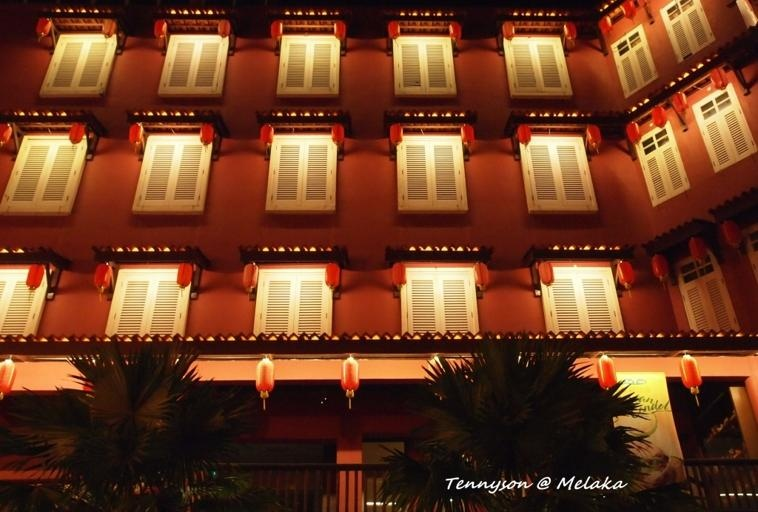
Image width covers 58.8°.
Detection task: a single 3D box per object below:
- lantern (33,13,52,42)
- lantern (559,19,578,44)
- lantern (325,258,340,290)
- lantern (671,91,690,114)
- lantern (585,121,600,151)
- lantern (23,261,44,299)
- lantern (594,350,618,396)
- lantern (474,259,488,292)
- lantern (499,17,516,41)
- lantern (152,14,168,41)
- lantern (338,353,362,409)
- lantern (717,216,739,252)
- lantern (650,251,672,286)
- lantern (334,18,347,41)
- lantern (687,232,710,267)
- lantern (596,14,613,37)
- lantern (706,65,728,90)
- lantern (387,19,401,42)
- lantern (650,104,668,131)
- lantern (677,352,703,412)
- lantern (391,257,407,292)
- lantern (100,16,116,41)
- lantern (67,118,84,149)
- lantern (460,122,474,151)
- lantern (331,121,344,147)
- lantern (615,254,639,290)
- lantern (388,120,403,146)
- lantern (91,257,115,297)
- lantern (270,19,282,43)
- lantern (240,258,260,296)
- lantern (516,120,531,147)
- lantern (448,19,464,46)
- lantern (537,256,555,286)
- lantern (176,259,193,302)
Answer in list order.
[{"bbox_3d":[-9.551,-6.484,19.052,0.594,0.981,0.521,-6,-43,-14],"label":"lantern"},{"bbox_3d":[5.593,-6.434,19.360,0.688,0.710,0.282,4,1,-3],"label":"lantern"},{"bbox_3d":[-1.115,0.474,16.231,0.328,0.600,0.227,2,-10,1],"label":"lantern"},{"bbox_3d":[7.545,-3.887,16.901,0.335,0.545,0.225,-5,-13,20],"label":"lantern"},{"bbox_3d":[5.653,-3.234,17.831,0.298,0.848,0.283,-2,-40,2],"label":"lantern"},{"bbox_3d":[-8.160,0.447,15.935,0.343,0.577,0.270,5,-14,-26],"label":"lantern"},{"bbox_3d":[4.662,2.348,13.919,0.364,0.664,0.383,-8,-14,29],"label":"lantern"},{"bbox_3d":[2.501,0.466,16.422,0.362,0.709,0.185,-4,-15,8],"label":"lantern"},{"bbox_3d":[3.687,-6.511,19.365,0.424,0.527,0.203,-2,6,-9],"label":"lantern"},{"bbox_3d":[-6.244,-6.529,19.148,0.419,0.726,0.512,-4,-27,-3],"label":"lantern"},{"bbox_3d":[-0.606,2.472,13.876,0.358,0.823,0.481,0,-12,-4],"label":"lantern"},{"bbox_3d":[8.055,-0.501,15.540,0.435,0.645,0.182,4,-22,-9],"label":"lantern"},{"bbox_3d":[6.957,0.262,16.607,0.429,0.714,0.575,-5,-13,20],"label":"lantern"},{"bbox_3d":[-1.116,-6.461,19.285,0.339,0.578,0.598,0,-12,-3],"label":"lantern"},{"bbox_3d":[7.582,-0.189,15.935,0.527,0.873,0.287,24,-32,-29],"label":"lantern"},{"bbox_3d":[6.630,-6.700,19.511,0.498,0.714,0.431,0,-13,11],"label":"lantern"},{"bbox_3d":[8.273,-4.392,16.427,0.509,0.679,0.384,-1,-22,11],"label":"lantern"},{"bbox_3d":[0.418,-6.497,19.416,0.392,0.580,0.507,-1,-12,2],"label":"lantern"},{"bbox_3d":[7.154,-3.574,17.151,0.330,0.696,0.654,-6,-13,24],"label":"lantern"},{"bbox_3d":[6.500,2.505,14.014,0.392,0.947,0.679,-6,-13,22],"label":"lantern"},{"bbox_3d":[0.471,0.511,16.344,0.334,0.705,0.613,-1,-12,0],"label":"lantern"},{"bbox_3d":[-7.750,-6.579,19.327,0.387,0.505,0.501,7,12,-5],"label":"lantern"},{"bbox_3d":[-7.855,-3.196,17.510,0.386,0.651,0.586,5,-13,-24],"label":"lantern"},{"bbox_3d":[2.360,-3.185,17.961,0.333,0.594,0.733,-2,-12,7],"label":"lantern"},{"bbox_3d":[-1.081,-3.233,17.858,0.334,0.526,0.593,0,-12,-3],"label":"lantern"},{"bbox_3d":[6.057,0.407,16.533,0.444,0.776,0.902,-5,-13,20],"label":"lantern"},{"bbox_3d":[0.436,-3.265,17.836,0.343,0.580,0.483,-1,-12,1],"label":"lantern"},{"bbox_3d":[-6.605,0.526,16.194,0.412,0.819,0.741,2,-12,-12],"label":"lantern"},{"bbox_3d":[-2.952,-6.400,19.349,0.385,0.795,0.608,1,-12,-9],"label":"lantern"},{"bbox_3d":[-3.140,0.581,16.424,0.356,0.848,0.528,2,-12,-11],"label":"lantern"},{"bbox_3d":[3.821,-3.221,17.793,0.421,0.571,0.598,-3,-12,10],"label":"lantern"},{"bbox_3d":[2.193,-6.474,19.379,0.366,1.103,0.379,13,-56,-6],"label":"lantern"},{"bbox_3d":[4.035,0.396,16.323,0.338,0.613,0.403,-2,-12,6],"label":"lantern"},{"bbox_3d":[-4.693,0.434,16.178,0.380,0.621,0.671,3,-12,-16],"label":"lantern"}]
